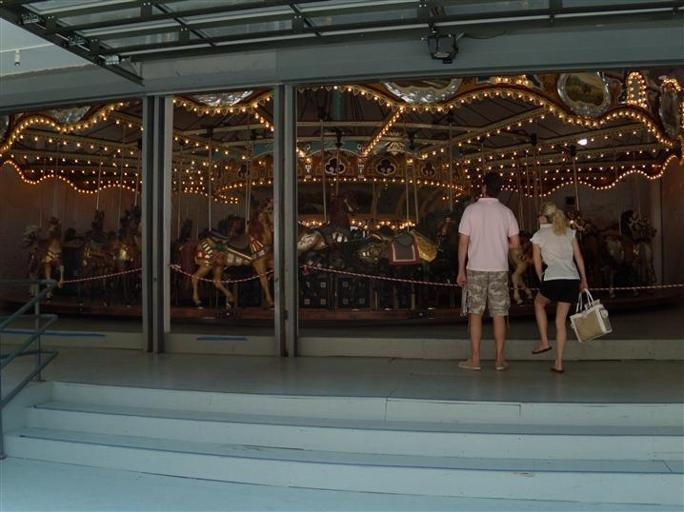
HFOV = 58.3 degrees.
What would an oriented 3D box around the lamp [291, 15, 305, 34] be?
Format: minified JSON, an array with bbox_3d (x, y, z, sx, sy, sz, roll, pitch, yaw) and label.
[{"bbox_3d":[-0.505,-2.652,6.998,0.095,0.132,0.137,-2,-22,7],"label":"lamp"}]

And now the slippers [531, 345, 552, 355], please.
[{"bbox_3d":[2.353,1.112,7.209,0.257,0.101,0.096,-20,8,46],"label":"slippers"}]

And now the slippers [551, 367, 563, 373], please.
[{"bbox_3d":[2.370,1.261,6.736,0.046,0.051,0.132,0,6,-15],"label":"slippers"}]

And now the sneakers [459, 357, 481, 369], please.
[{"bbox_3d":[1.450,1.226,6.978,0.111,0.070,0.195,1,5,-43],"label":"sneakers"}]

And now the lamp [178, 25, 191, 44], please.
[{"bbox_3d":[-1.851,-2.602,7.173,0.161,0.221,0.113,-3,-11,10],"label":"lamp"}]

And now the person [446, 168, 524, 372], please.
[{"bbox_3d":[1.596,0.130,6.943,0.770,2.188,0.591,3,3,26],"label":"person"}]

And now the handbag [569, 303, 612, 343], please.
[{"bbox_3d":[2.789,0.778,6.875,0.469,0.334,0.306,-29,-14,39],"label":"handbag"}]

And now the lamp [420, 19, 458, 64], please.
[{"bbox_3d":[1.182,-2.586,7.240,0.376,0.471,0.293,3,34,28],"label":"lamp"}]
